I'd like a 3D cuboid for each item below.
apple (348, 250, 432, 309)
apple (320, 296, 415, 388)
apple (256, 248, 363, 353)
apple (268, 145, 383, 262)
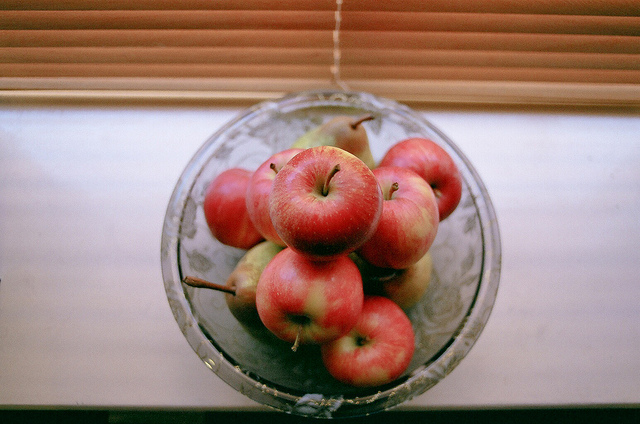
[{"bbox_3d":[0.167,0.133,1.655,0.136,0.138,0.127,-29,-6,14],"label":"apple"},{"bbox_3d":[0.114,0.311,1.617,0.204,0.116,0.221,-24,53,8],"label":"apple"},{"bbox_3d":[-0.006,0.181,1.622,0.217,0.219,0.259,11,39,15],"label":"apple"},{"bbox_3d":[0.032,-0.008,1.568,0.219,0.225,0.263,-1,-7,8],"label":"apple"}]
